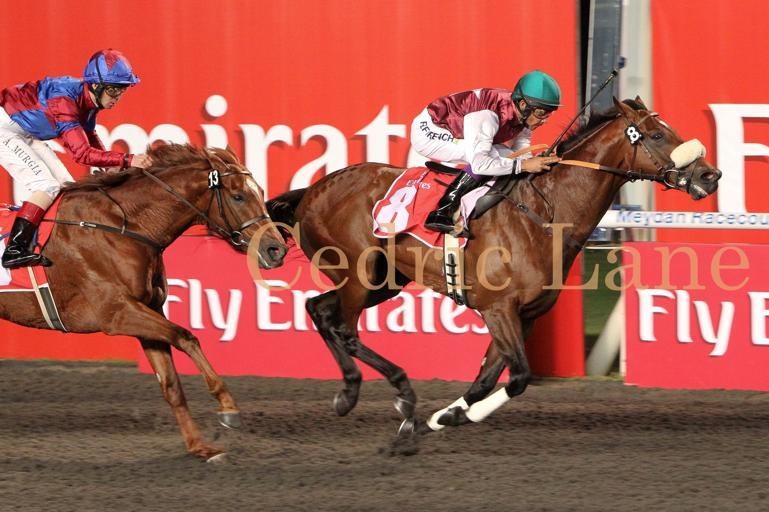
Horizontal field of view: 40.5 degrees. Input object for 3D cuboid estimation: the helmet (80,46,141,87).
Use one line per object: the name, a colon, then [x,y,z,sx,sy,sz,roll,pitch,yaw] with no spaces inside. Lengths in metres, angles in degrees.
helmet: [-1.708,-1.210,6.603,0.361,0.156,0.287,29,45,34]

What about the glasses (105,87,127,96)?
glasses: [-1.688,-1.041,6.645,0.111,0.070,0.174,3,10,16]

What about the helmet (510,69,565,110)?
helmet: [0.989,-1.060,6.824,0.422,0.144,0.248,7,7,17]

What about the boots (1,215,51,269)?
boots: [-2.213,-0.086,6.419,0.279,0.305,0.122,-3,14,-14]
